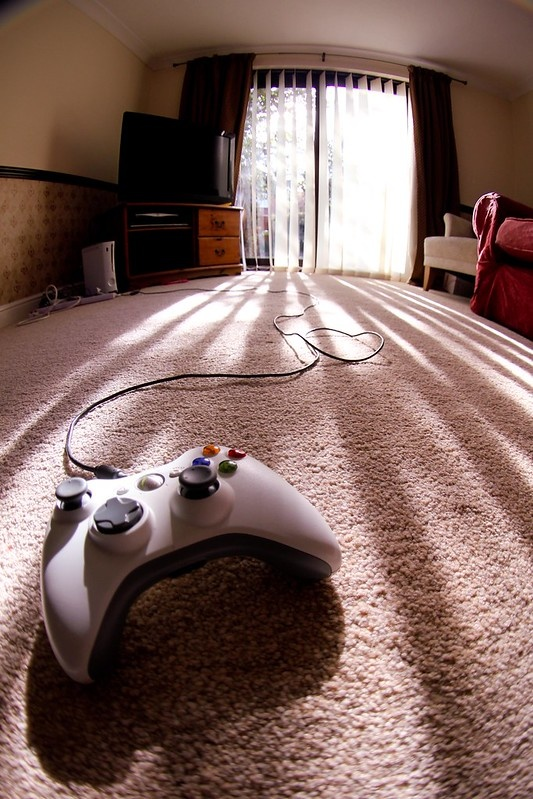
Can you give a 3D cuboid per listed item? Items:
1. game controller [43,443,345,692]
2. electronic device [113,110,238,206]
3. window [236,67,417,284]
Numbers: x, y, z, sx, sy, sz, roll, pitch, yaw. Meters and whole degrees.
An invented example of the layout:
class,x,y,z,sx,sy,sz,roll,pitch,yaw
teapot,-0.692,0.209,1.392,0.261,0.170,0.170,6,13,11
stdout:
class,x,y,z,sx,sy,sz,roll,pitch,yaw
game controller,-0.080,0.100,0.474,0.224,0.098,0.238,-12,26,-21
electronic device,-0.439,-1.233,2.897,0.648,0.394,0.073,-9,25,-35
window,0.397,-1.498,3.584,1.348,1.675,0.160,1,15,-5
